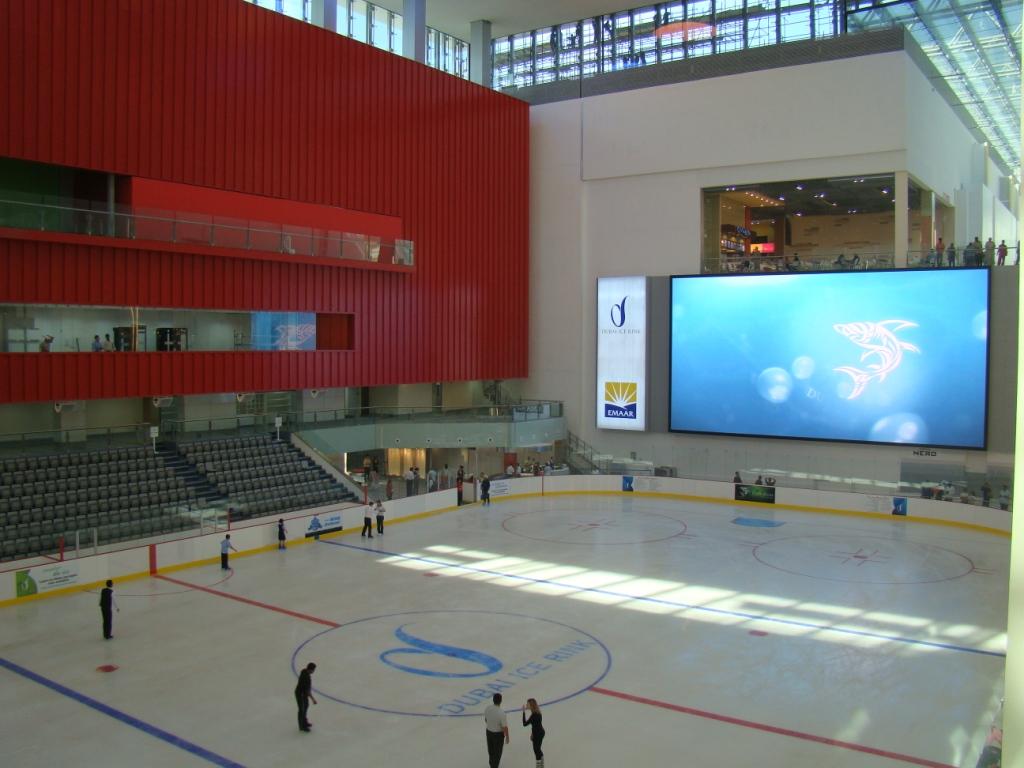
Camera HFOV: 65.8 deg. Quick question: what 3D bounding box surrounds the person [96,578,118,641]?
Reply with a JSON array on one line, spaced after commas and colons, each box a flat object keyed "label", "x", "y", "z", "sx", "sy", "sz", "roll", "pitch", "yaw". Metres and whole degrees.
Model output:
[{"label": "person", "x": -11.024, "y": 6.083, "z": 21.577, "sx": 0.284, "sy": 1.576, "sz": 0.924, "roll": -2, "pitch": 6, "yaw": -28}]

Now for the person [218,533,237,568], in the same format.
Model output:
[{"label": "person", "x": -10.183, "y": 5.963, "z": 28.388, "sx": 0.450, "sy": 1.117, "sz": 2.111, "roll": -1, "pitch": 5, "yaw": -20}]

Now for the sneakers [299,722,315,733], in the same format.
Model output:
[{"label": "sneakers", "x": -4.371, "y": 7.299, "z": 16.844, "sx": 0.353, "sy": 0.243, "sz": 0.119, "roll": -1, "pitch": 5, "yaw": -8}]

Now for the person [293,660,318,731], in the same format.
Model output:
[{"label": "person", "x": -4.439, "y": 6.610, "z": 17.063, "sx": 0.364, "sy": 1.492, "sz": 0.960, "roll": -1, "pitch": 5, "yaw": -15}]

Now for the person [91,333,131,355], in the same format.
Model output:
[{"label": "person", "x": -15.600, "y": -1.558, "z": 31.019, "sx": 1.403, "sy": 0.707, "sz": 0.564, "roll": -2, "pitch": 6, "yaw": -29}]

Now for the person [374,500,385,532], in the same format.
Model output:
[{"label": "person", "x": -5.545, "y": 5.648, "z": 33.299, "sx": 0.332, "sy": 1.187, "sz": 0.806, "roll": 0, "pitch": 5, "yaw": -10}]

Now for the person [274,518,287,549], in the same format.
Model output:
[{"label": "person", "x": -8.937, "y": 5.813, "z": 30.692, "sx": 0.324, "sy": 1.087, "sz": 0.573, "roll": -1, "pitch": 5, "yaw": -19}]
